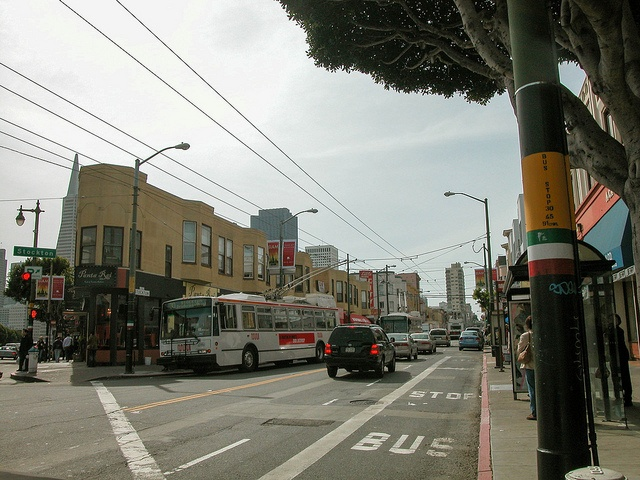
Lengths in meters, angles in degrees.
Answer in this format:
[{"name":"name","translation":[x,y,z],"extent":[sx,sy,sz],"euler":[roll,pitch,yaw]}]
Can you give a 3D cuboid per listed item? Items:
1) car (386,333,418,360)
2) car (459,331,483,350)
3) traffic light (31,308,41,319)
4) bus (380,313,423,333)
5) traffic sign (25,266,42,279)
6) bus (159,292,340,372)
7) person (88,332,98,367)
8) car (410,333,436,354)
[{"name":"car","translation":[4.528,5.687,31.326],"extent":[1.027,0.853,2.573],"euler":[-3,-19,11]},{"name":"car","translation":[12.263,8.243,47.680],"extent":[1.774,1.655,2.615],"euler":[-6,-13,9]},{"name":"traffic light","translation":[-12.747,3.276,26.129],"extent":[0.247,0.424,0.611],"euler":[1,-13,-23]},{"name":"bus","translation":[7.108,7.272,50.399],"extent":[1.506,1.604,5.373],"euler":[-3,-16,18]},{"name":"traffic sign","translation":[-12.806,1.456,26.111],"extent":[0.083,0.551,0.615],"euler":[-6,-8,12]},{"name":"bus","translation":[-3.332,4.305,27.381],"extent":[3.086,3.369,11.186],"euler":[-9,-17,27]},{"name":"person","translation":[-11.582,5.581,29.779],"extent":[0.426,1.711,0.991],"euler":[1,-12,-22]},{"name":"car","translation":[7.088,7.034,39.499],"extent":[1.182,0.997,2.929],"euler":[-1,-3,15]}]
